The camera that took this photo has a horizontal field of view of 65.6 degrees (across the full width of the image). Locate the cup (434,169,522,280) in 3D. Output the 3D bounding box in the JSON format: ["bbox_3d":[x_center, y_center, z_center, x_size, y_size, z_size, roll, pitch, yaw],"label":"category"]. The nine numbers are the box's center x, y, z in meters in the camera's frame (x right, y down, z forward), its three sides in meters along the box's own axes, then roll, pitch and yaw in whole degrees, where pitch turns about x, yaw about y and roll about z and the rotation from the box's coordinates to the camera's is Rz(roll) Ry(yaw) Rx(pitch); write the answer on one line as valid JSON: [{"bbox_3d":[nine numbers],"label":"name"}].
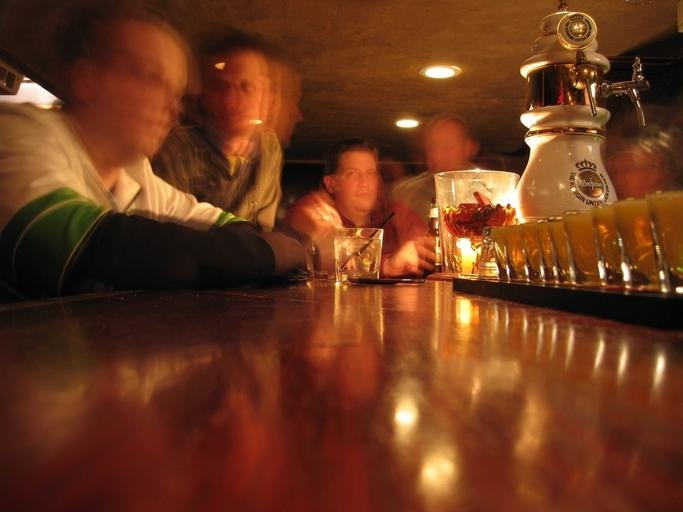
[{"bbox_3d":[0.293,-0.068,1.159,0.194,0.226,0.189,-1,4,0],"label":"cup"}]

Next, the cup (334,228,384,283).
[{"bbox_3d":[0.039,0.005,1.195,0.111,0.136,0.115,1,-3,0],"label":"cup"}]
